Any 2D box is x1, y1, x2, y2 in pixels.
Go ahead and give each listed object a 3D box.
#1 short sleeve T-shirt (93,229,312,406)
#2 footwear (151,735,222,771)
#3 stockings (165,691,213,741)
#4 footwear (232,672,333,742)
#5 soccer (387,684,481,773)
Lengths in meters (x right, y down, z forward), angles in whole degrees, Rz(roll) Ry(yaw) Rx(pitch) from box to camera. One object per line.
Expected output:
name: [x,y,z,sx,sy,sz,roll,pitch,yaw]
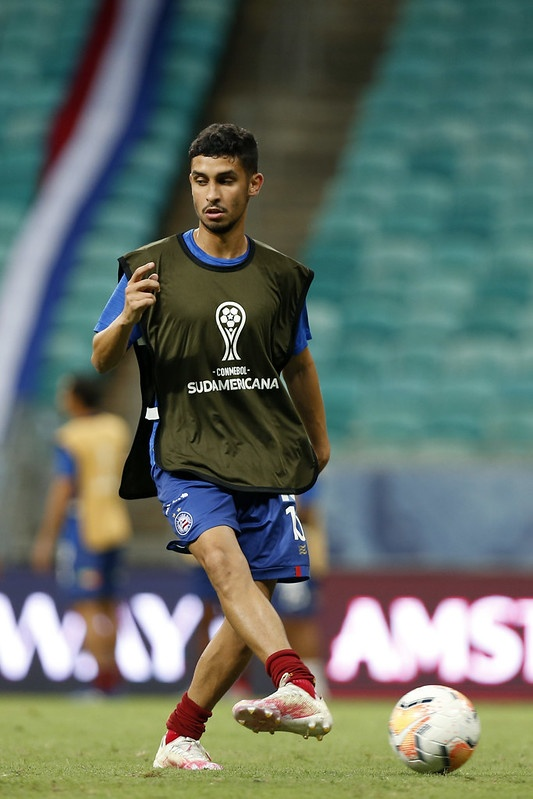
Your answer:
short sleeve T-shirt: [-0.285,-0.250,2.422,0.268,0.326,0.421,14,23,31]
footwear: [-0.202,0.866,2.334,0.205,0.072,0.073,-2,-12,31]
stockings: [-0.209,0.805,2.363,0.093,0.116,0.098,15,25,33]
footwear: [0.030,0.615,1.902,0.215,0.070,0.120,15,39,-24]
soccer: [0.382,0.802,2.355,0.238,0.192,0.212,4,-6,-4]
